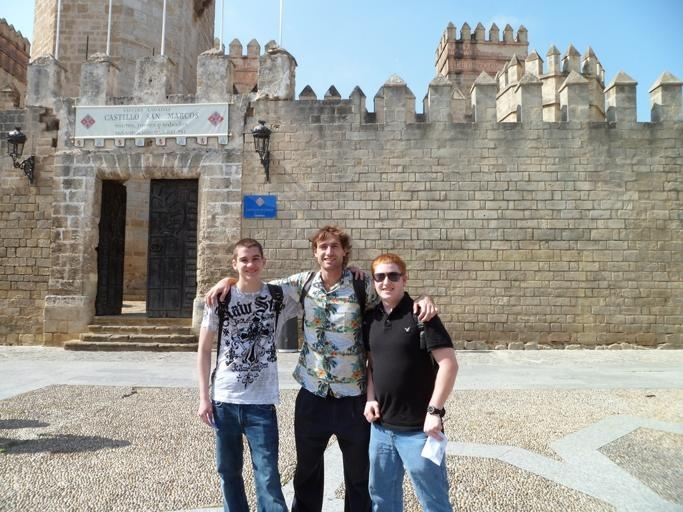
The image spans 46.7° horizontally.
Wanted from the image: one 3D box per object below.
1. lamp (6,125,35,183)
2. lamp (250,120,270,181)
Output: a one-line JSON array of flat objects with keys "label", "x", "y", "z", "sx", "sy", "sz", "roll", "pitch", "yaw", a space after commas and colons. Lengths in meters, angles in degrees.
[{"label": "lamp", "x": -7.092, "y": -2.251, "z": 17.488, "sx": 0.591, "sy": 1.080, "sz": 0.572, "roll": 3, "pitch": -1, "yaw": -38}, {"label": "lamp", "x": -1.728, "y": -2.315, "z": 17.135, "sx": 0.403, "sy": 0.897, "sz": 0.438, "roll": 2, "pitch": -1, "yaw": -6}]
